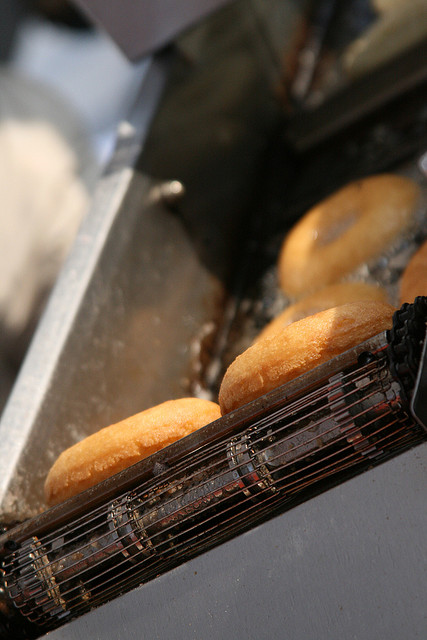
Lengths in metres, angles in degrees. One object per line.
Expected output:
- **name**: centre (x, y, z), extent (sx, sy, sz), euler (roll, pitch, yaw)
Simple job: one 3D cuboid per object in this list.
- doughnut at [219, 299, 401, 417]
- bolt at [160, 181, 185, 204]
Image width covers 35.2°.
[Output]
- **doughnut**: centre (0.068, 0.025, 0.546), extent (0.151, 0.099, 0.088), euler (-2, 42, 19)
- **bolt**: centre (-0.054, -0.167, 0.866), extent (0.034, 0.029, 0.026), euler (-3, 67, -12)
